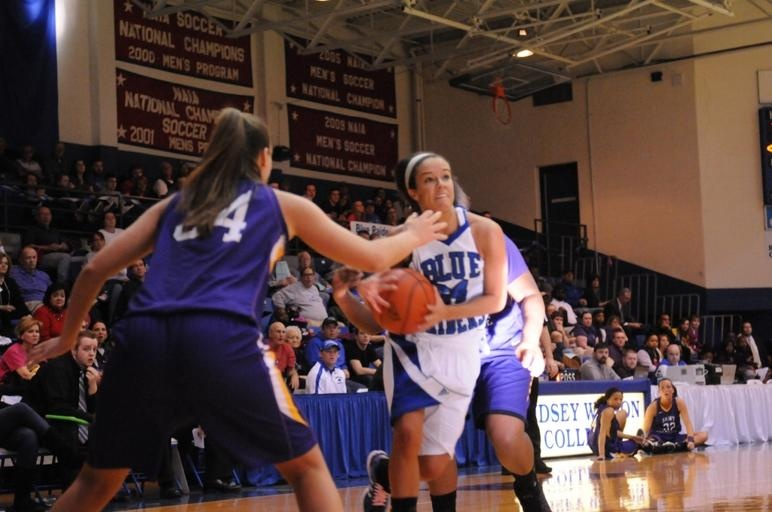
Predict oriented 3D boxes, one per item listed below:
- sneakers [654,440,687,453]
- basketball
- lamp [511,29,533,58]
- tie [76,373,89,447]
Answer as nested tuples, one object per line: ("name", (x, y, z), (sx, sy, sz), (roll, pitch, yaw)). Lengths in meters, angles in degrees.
("sneakers", (4.508, 3.097, 11.981), (0.361, 0.126, 0.261), (1, -6, -14))
("basketball", (0.174, 0.269, 5.322), (0.341, 0.346, 0.401), (33, -38, 15))
("lamp", (3.483, -5.567, 19.314), (0.511, 0.869, 1.000), (-3, -6, 12))
("tie", (-3.558, 1.787, 8.914), (0.052, 0.830, 0.163), (-24, -36, -4))
